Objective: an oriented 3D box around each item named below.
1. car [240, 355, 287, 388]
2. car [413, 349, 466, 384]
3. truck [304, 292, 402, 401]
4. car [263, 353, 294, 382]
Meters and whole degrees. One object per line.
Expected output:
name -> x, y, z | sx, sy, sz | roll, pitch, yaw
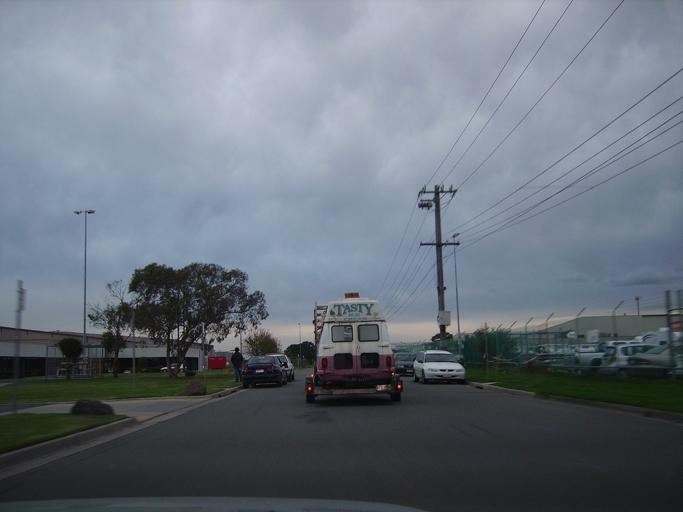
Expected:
car -> -4.232, 6.262, 30.398 | 1.892, 1.708, 2.175 | -3, -13, 3
car -> 5.292, 5.988, 30.479 | 2.304, 1.886, 3.200 | -3, -13, 2
truck -> 0.353, 3.635, 21.901 | 2.448, 2.845, 4.773 | 0, -8, -1
car -> -3.838, 7.093, 35.723 | 1.279, 1.397, 3.045 | -1, -6, 5
